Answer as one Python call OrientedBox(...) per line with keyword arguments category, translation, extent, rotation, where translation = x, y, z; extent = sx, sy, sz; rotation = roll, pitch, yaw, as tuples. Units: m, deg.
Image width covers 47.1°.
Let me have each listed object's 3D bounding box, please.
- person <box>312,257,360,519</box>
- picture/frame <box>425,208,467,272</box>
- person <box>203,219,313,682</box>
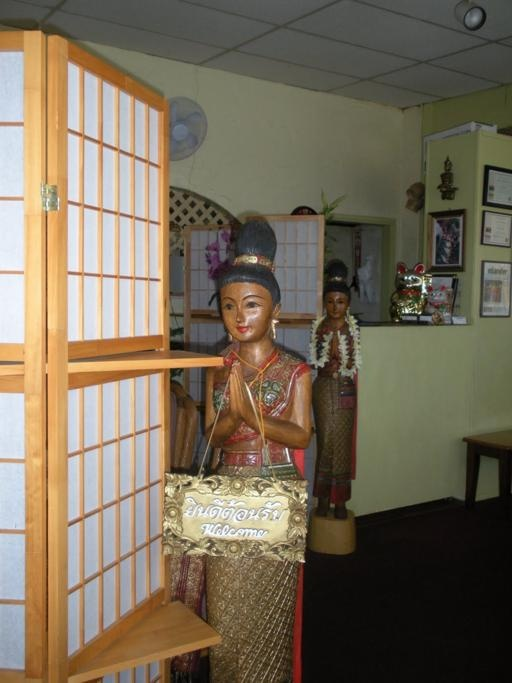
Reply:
OrientedBox(category="person", translation=(0.434, 0.265, 3.285), extent=(0.264, 1.427, 0.202), rotation=(1, 2, 5))
OrientedBox(category="picture/frame", translation=(1.395, -0.744, 4.309), extent=(0.066, 0.609, 0.454), rotation=(-5, 8, -32))
OrientedBox(category="person", translation=(0.011, 0.377, 1.631), extent=(0.303, 1.437, 0.443), rotation=(0, 2, -5))
